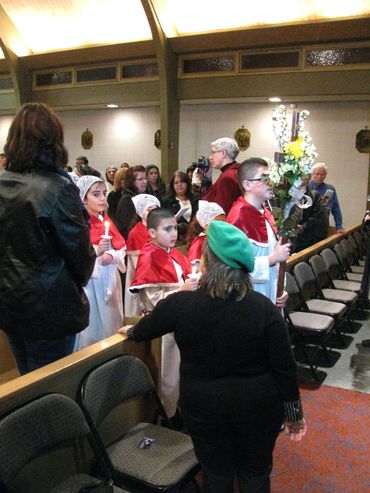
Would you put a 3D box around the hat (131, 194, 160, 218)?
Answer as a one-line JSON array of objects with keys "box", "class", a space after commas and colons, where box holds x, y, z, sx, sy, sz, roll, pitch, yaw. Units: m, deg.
[{"box": [-0.360, -0.389, 3.456, 0.244, 0.174, 0.190, 21, 26, 38], "class": "hat"}]

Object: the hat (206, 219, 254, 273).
[{"box": [0.139, 0.001, 1.155, 0.148, 0.153, 0.092, 2, 5, 5], "class": "hat"}]
